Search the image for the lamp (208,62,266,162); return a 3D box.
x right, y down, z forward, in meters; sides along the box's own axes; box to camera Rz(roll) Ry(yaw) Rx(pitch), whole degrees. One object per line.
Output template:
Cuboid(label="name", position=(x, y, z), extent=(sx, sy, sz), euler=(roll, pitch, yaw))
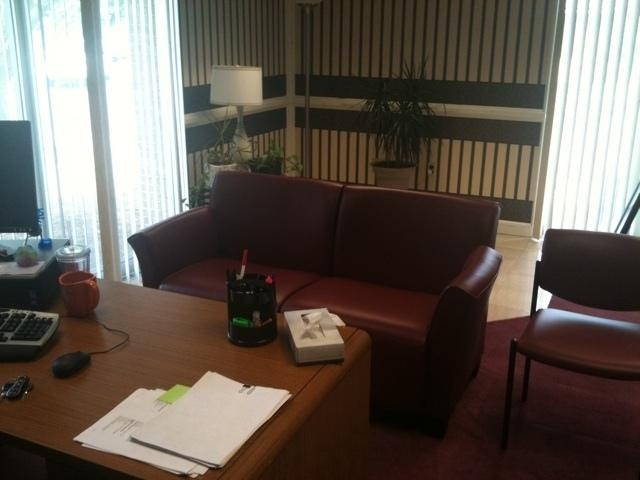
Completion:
Cuboid(label="lamp", position=(-0.735, -1.051, 4.265), extent=(0.403, 0.766, 0.567), euler=(-9, 21, -25))

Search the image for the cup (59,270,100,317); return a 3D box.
Cuboid(label="cup", position=(-0.876, 0.214, 1.913), extent=(0.169, 0.129, 0.110), euler=(1, 10, 37))

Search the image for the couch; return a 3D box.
Cuboid(label="couch", position=(-0.041, 0.230, 2.914), extent=(1.953, 0.959, 0.893), euler=(8, 16, 25))

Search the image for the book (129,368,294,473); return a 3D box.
Cuboid(label="book", position=(-0.301, 0.503, 1.437), extent=(0.204, 0.027, 0.234), euler=(16, 32, 29))

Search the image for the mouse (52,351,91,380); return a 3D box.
Cuboid(label="mouse", position=(-0.789, 0.396, 1.629), extent=(0.077, 0.043, 0.113), euler=(14, 23, 33))

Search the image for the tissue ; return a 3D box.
Cuboid(label="tissue ", position=(-0.019, 0.326, 1.755), extent=(0.175, 0.068, 0.243), euler=(-6, 24, -12))

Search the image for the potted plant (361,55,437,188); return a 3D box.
Cuboid(label="potted plant", position=(0.797, -1.126, 5.143), extent=(0.653, 1.285, 0.757), euler=(5, 19, 12))
